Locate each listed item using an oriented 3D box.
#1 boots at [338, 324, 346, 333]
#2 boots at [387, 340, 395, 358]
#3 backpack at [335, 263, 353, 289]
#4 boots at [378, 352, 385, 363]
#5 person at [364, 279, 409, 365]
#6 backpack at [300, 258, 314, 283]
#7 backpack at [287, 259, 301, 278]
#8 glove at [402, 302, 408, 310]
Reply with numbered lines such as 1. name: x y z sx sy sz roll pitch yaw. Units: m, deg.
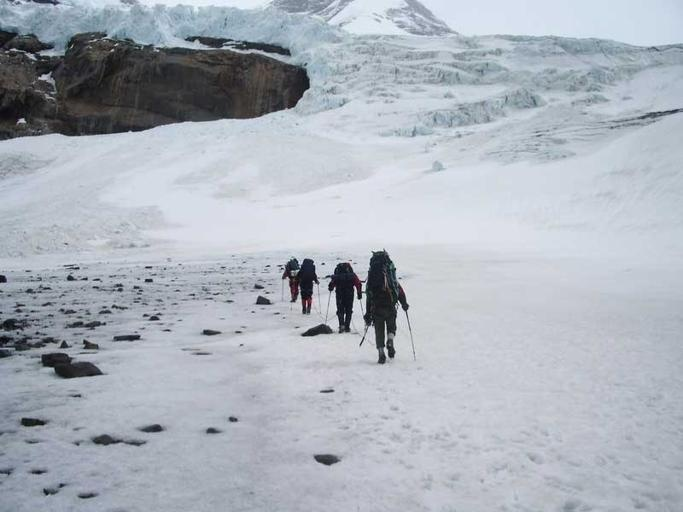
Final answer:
1. boots: 0.011 1.871 15.763 0.194 0.149 0.390 -2 7 -1
2. boots: 1.086 2.064 13.628 0.145 0.382 0.167 -2 19 15
3. backpack: 0.063 0.521 15.918 0.556 0.713 0.405 5 -22 -15
4. boots: 0.881 2.186 13.421 0.161 0.298 0.197 -1 7 4
5. person: 1.026 1.518 13.890 0.896 1.662 1.276 -2 7 -4
6. backpack: -0.974 0.391 17.618 0.460 0.604 0.246 5 -6 7
7. backpack: -1.443 0.382 18.570 0.459 0.564 0.245 7 -7 -20
8. glove: 1.439 1.142 13.914 0.123 0.205 0.362 -1 7 5
